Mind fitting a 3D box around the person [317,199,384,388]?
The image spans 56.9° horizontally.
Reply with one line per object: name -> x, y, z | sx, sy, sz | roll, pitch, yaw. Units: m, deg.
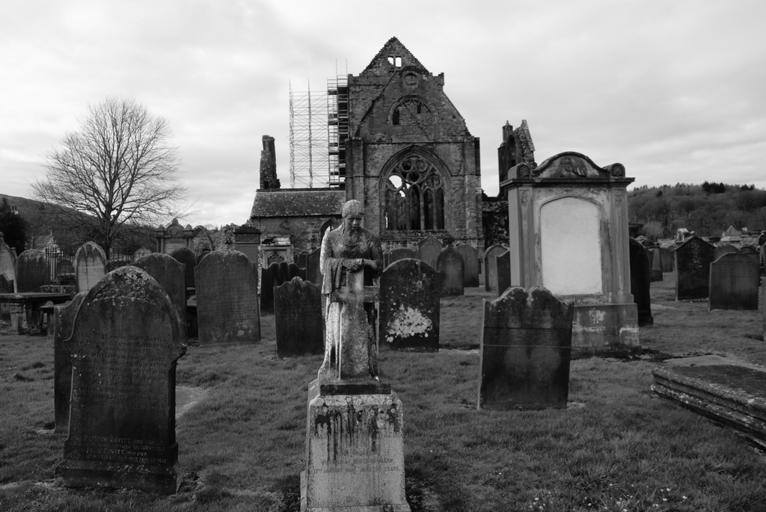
person -> -0.406, 0.424, 8.783 | 0.804, 2.133, 0.686 | -2, 9, -1
